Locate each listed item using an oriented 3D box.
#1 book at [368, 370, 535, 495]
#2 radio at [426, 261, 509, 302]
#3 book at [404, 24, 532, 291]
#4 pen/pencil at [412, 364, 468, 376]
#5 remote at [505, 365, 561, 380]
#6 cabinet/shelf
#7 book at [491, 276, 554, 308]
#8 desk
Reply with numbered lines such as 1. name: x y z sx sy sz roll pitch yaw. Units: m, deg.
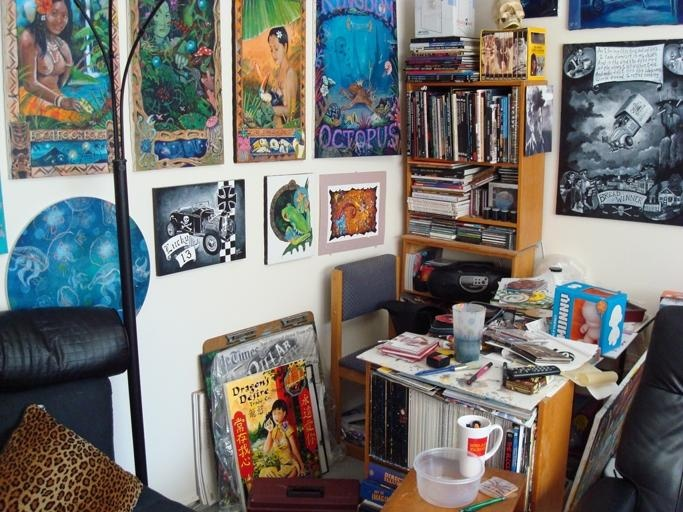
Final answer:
1. book: 0.458 0.680 2.076 0.466 0.498 0.188 14 20 38
2. radio: 0.889 0.212 3.436 0.502 0.287 0.394 5 0 24
3. book: 0.802 -0.623 3.362 0.878 1.486 0.325 5 15 31
4. pen/pencil: 0.427 0.486 2.233 0.121 0.020 0.025 -8 22 -4
5. remote: 0.757 0.462 2.106 0.158 0.031 0.086 -3 7 -10
6. cabinet/shelf: 0.804 -0.337 3.638 0.815 1.570 0.497 -18 24 -26
7. book: 1.020 0.197 2.932 0.303 0.069 0.398 4 15 25
8. desk: 0.951 0.438 2.513 0.769 0.733 1.287 13 21 37
